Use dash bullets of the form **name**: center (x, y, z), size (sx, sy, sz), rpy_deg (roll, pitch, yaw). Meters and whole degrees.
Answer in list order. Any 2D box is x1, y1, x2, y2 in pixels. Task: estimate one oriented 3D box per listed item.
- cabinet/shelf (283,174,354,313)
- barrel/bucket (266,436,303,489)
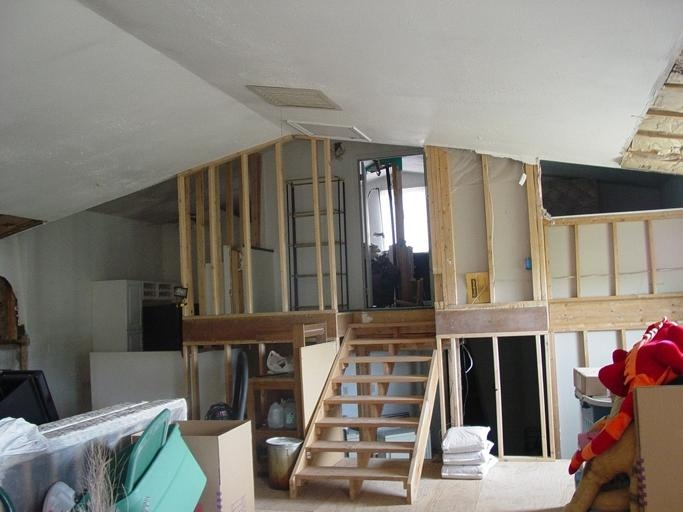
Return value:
- **cabinet/shelf**: center (-0.416, -0.210, 9.883), size (1.073, 2.240, 0.462), rpy_deg (0, -2, 3)
- **barrel/bucket**: center (-0.536, 2.115, 6.062), size (0.433, 0.413, 0.432), rpy_deg (1, -2, 0)
